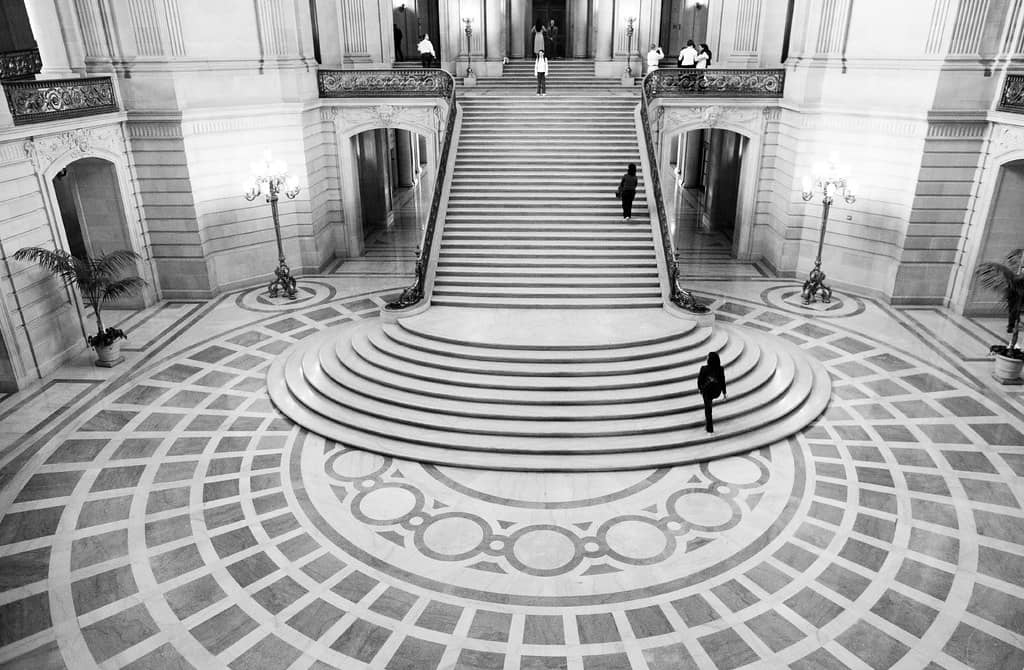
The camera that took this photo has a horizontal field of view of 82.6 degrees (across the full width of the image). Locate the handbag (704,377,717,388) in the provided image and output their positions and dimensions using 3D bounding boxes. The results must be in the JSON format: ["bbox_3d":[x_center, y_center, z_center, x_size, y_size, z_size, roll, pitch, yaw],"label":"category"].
[{"bbox_3d":[3.572,0.844,10.486,0.216,0.153,0.095,2,26,7],"label":"handbag"}]

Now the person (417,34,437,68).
[{"bbox_3d":[-3.170,-10.541,21.623,0.486,1.092,1.561,-5,26,-7],"label":"person"}]

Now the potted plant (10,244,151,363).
[{"bbox_3d":[-10.167,-0.696,13.624,3.065,2.887,2.163,-3,11,-23],"label":"potted plant"}]

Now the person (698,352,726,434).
[{"bbox_3d":[3.714,0.973,10.842,0.498,1.631,0.755,9,28,20],"label":"person"}]
